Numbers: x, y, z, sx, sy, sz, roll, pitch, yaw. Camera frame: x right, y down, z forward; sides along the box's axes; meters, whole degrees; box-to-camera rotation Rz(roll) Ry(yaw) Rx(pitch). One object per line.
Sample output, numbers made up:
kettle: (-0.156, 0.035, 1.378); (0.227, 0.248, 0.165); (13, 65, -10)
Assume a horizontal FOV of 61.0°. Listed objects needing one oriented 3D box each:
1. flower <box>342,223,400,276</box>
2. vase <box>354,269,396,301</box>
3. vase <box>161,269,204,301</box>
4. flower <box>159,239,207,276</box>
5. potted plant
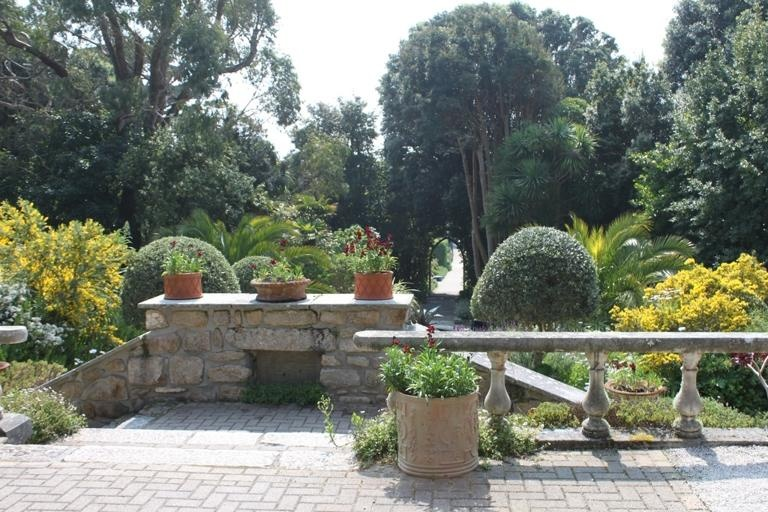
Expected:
flower: (-0.176, -0.094, 9.440); (0.704, 0.714, 0.769); (-1, -3, 11)
vase: (-0.155, 0.421, 9.140); (0.427, 0.283, 0.437); (1, 3, 19)
vase: (-2.874, 0.420, 9.283); (0.422, 0.293, 0.434); (0, -3, 13)
flower: (-2.971, 0.102, 9.670); (0.655, 0.490, 0.679); (1, -5, -5)
potted plant: (0.590, 1.733, 7.220); (0.889, 1.249, 1.052); (1, -5, -21)
